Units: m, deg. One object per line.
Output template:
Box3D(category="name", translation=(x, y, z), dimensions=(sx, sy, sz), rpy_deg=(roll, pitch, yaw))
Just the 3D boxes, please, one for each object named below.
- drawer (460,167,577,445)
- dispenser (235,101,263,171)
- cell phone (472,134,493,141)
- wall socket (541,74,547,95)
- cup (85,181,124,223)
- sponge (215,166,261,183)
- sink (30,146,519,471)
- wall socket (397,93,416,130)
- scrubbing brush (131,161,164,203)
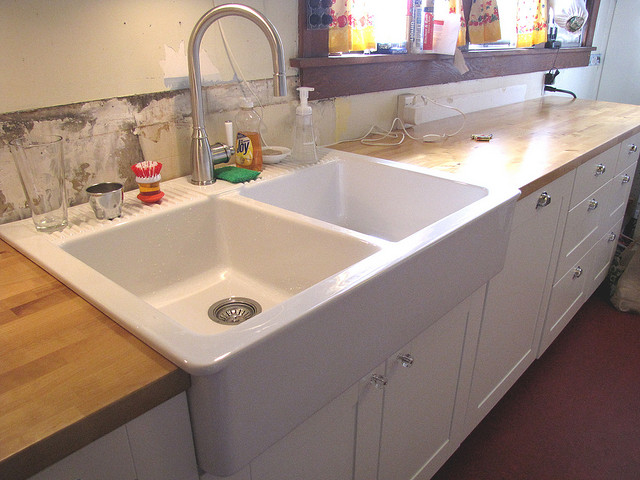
Box3D(category="drawer", translation=(0.572, 0.203, 1.717), dimensions=(0.398, 1.053, 0.477), rpy_deg=(17, 25, 35))
Box3D(category="dispenser", translation=(-0.228, -0.320, 1.381), dimensions=(0.089, 0.221, 0.069), rpy_deg=(4, 9, 25))
Box3D(category="cell phone", translation=(0.686, -0.440, 1.873), dimensions=(0.076, 0.016, 0.109), rpy_deg=(5, 25, 17))
Box3D(category="wall socket", translation=(1.568, -1.083, 3.102), dimensions=(0.023, 0.101, 0.094), rpy_deg=(11, 12, 37))
Box3D(category="cup", translation=(-0.524, -0.092, 1.081), dimensions=(0.075, 0.077, 0.086), rpy_deg=(14, 22, 16))
Box3D(category="sponge", translation=(-0.258, -0.201, 1.315), dimensions=(0.063, 0.014, 0.100), rpy_deg=(-16, 25, -37))
Box3D(category="sink", translation=(-0.033, 0.067, 1.132), dimensions=(0.638, 0.323, 1.025), rpy_deg=(19, 32, 39))
Box3D(category="wall socket", translation=(0.406, -0.601, 2.050), dimensions=(0.091, 0.150, 0.044), rpy_deg=(-13, 26, -22))
Box3D(category="scrubbing brush", translation=(-0.454, -0.152, 1.165), dimensions=(0.074, 0.099, 0.073), rpy_deg=(-1, 18, -4))
